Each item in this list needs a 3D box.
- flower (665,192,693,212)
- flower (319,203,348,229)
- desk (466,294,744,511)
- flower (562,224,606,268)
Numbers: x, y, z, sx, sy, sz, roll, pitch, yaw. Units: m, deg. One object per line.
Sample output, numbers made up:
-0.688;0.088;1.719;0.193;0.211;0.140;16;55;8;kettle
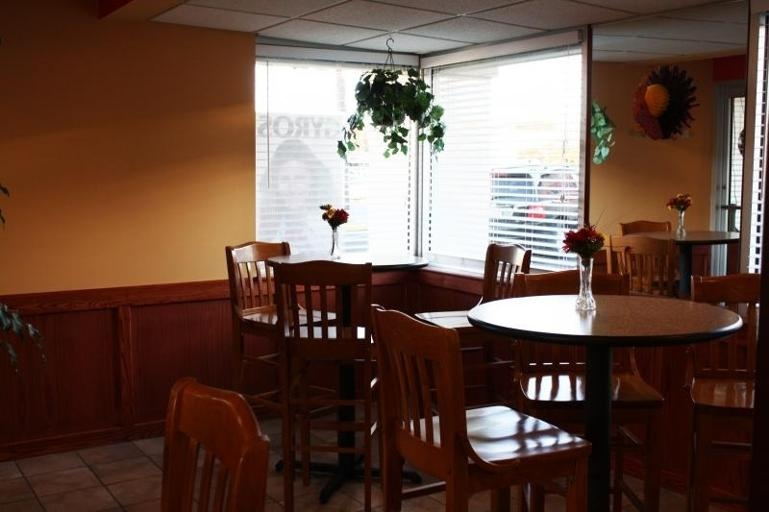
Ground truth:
1.913;-0.342;3.834;0.106;0.093;0.105;-7;5;-22;flower
-0.374;-0.294;4.406;0.165;0.176;0.269;-3;6;-7;flower
1.044;0.391;2.901;1.063;1.158;1.109;3;5;44;desk
1.016;-0.055;3.039;0.212;0.219;0.218;1;3;42;flower
